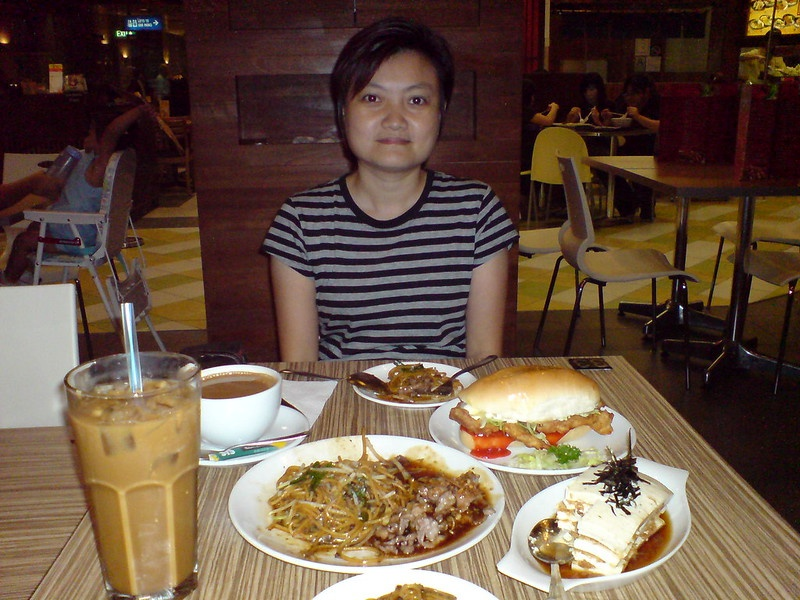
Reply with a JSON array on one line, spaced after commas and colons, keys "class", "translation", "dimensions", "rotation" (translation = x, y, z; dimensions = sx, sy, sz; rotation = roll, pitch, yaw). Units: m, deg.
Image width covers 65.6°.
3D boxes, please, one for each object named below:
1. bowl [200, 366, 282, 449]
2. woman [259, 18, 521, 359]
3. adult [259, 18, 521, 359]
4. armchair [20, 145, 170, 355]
[{"class": "bowl", "translation": [-0.300, 0.200, 1.210], "dimensions": [0.177, 0.095, 0.164], "rotation": [0, 5, 0]}, {"class": "woman", "translation": [-0.021, -0.299, 1.841], "dimensions": [0.772, 1.018, 0.442], "rotation": [-4, 22, -10]}, {"class": "adult", "translation": [-0.021, -0.299, 1.841], "dimensions": [0.772, 1.018, 0.442], "rotation": [-4, 22, -10]}, {"class": "armchair", "translation": [-2.029, -0.248, 3.970], "dimensions": [1.064, 1.287, 0.923], "rotation": [-4, 17, -28]}]
